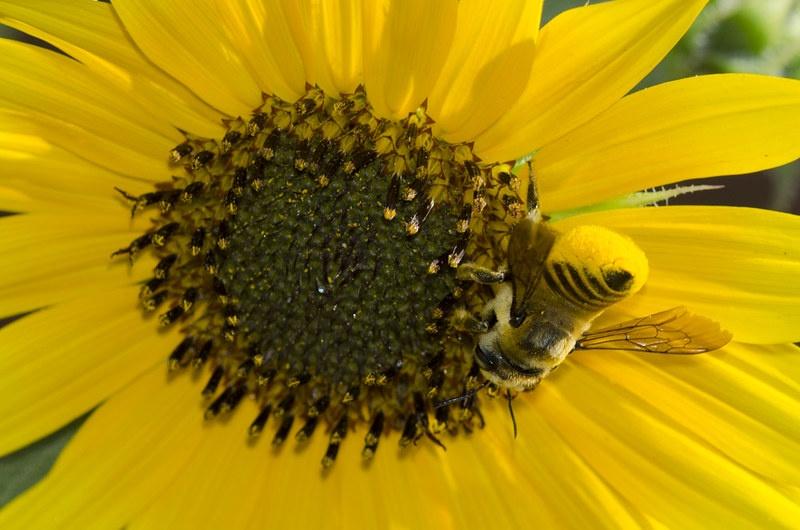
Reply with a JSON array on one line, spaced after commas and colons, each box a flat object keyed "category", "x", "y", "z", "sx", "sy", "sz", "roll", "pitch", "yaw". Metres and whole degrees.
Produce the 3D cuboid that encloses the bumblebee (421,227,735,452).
[{"category": "bumblebee", "x": 0.474, "y": 0.202, "z": 2.553, "sx": 0.534, "sy": 0.213, "sz": 0.693, "roll": 46, "pitch": -59, "yaw": -7}]
